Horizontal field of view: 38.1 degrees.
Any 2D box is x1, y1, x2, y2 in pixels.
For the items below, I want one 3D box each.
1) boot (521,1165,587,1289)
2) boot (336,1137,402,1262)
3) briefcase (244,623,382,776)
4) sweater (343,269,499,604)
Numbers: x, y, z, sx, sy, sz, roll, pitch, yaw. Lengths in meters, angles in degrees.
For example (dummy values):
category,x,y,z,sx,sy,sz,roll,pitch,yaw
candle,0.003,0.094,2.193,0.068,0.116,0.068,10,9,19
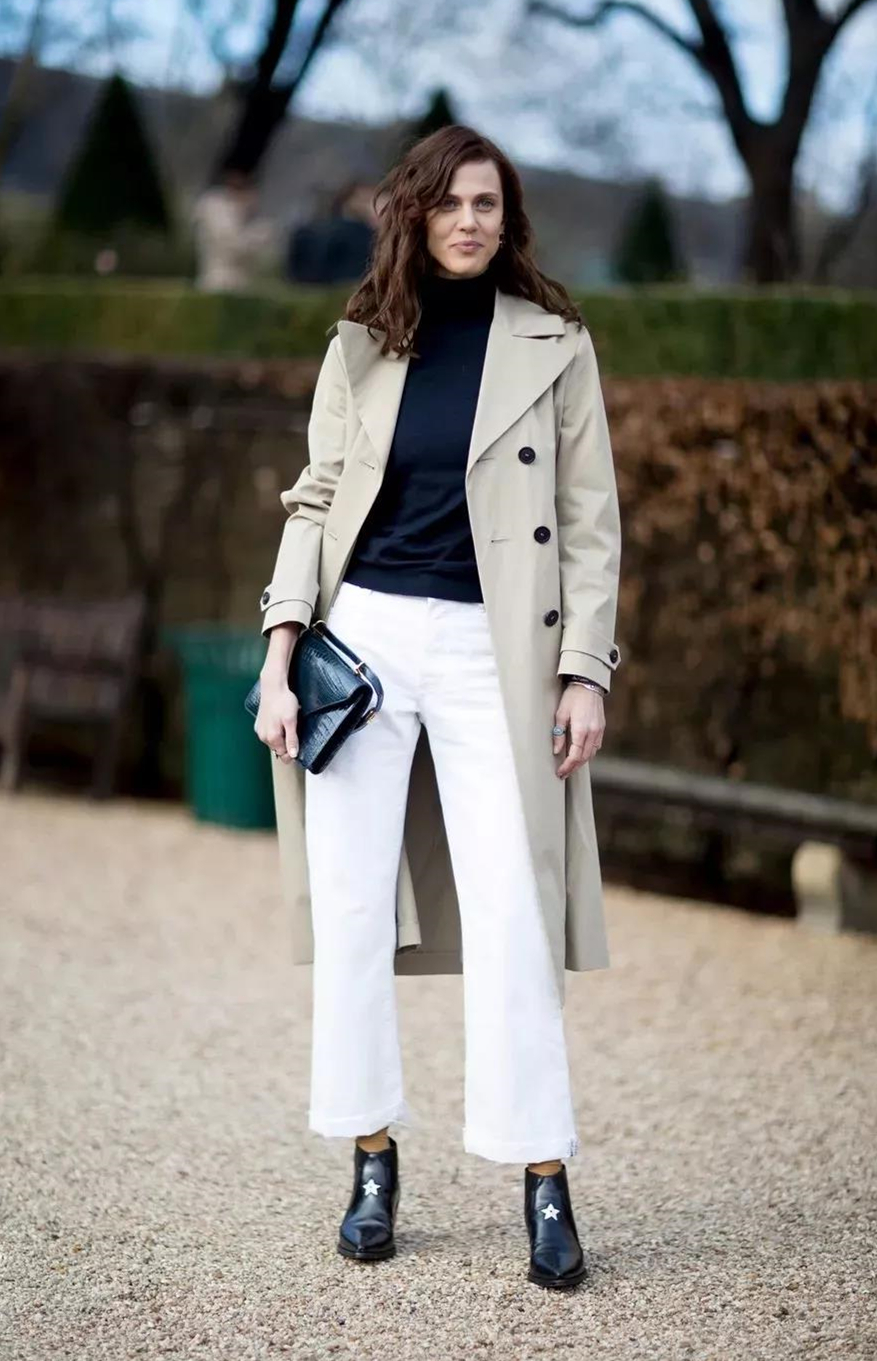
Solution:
category,x,y,z,sx,sy,sz,roll,pitch,yaw
boot,0.188,0.875,2.039,0.094,0.148,0.143,0,2,2
boot,-0.119,0.881,2.153,0.086,0.143,0.231,0,-4,3
briefcase,-0.181,0.029,1.978,0.071,0.206,0.205,16,30,-50
sweater,0.007,-0.401,2.112,0.187,0.622,0.142,12,-11,9
